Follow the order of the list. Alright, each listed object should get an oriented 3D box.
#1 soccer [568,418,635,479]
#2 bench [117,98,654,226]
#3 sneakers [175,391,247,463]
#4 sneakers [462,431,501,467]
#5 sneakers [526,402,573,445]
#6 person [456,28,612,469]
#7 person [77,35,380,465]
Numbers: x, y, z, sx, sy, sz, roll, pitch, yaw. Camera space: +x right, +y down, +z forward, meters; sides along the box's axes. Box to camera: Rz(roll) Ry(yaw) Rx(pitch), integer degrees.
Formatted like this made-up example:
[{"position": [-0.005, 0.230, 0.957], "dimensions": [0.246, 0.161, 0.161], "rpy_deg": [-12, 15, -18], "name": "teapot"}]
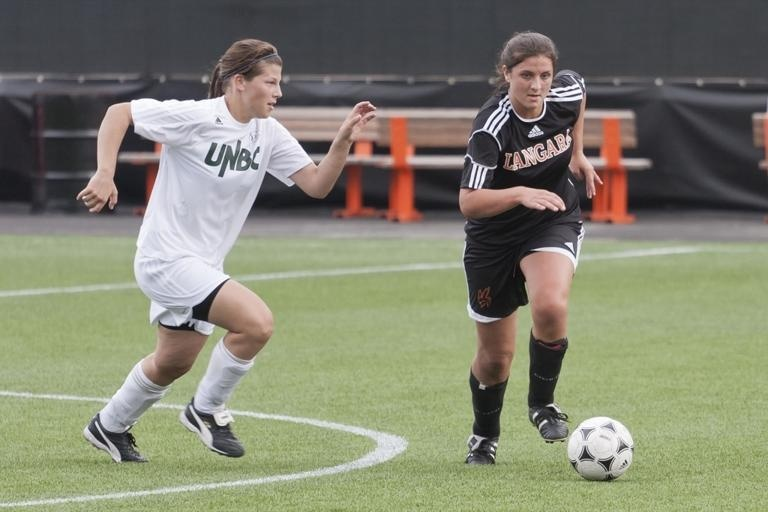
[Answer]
[{"position": [1.360, 1.175, 6.771], "dimensions": [0.347, 0.338, 0.348], "rpy_deg": [2, 13, 27], "name": "soccer"}, {"position": [-0.066, -1.679, 18.861], "dimensions": [8.854, 2.019, 1.653], "rpy_deg": [0, 19, -4], "name": "bench"}, {"position": [-1.104, 1.081, 6.948], "dimensions": [0.513, 0.237, 0.182], "rpy_deg": [32, 11, 32], "name": "sneakers"}, {"position": [0.635, 1.227, 6.969], "dimensions": [0.203, 0.175, 0.237], "rpy_deg": [3, 7, 4], "name": "sneakers"}, {"position": [1.084, 1.072, 7.043], "dimensions": [0.150, 0.144, 0.347], "rpy_deg": [-6, 6, -25], "name": "sneakers"}, {"position": [0.976, -0.069, 7.051], "dimensions": [1.026, 2.736, 0.735], "rpy_deg": [-4, 9, -37], "name": "person"}, {"position": [-1.143, -0.031, 6.970], "dimensions": [1.530, 2.681, 0.600], "rpy_deg": [2, 8, -3], "name": "person"}]
